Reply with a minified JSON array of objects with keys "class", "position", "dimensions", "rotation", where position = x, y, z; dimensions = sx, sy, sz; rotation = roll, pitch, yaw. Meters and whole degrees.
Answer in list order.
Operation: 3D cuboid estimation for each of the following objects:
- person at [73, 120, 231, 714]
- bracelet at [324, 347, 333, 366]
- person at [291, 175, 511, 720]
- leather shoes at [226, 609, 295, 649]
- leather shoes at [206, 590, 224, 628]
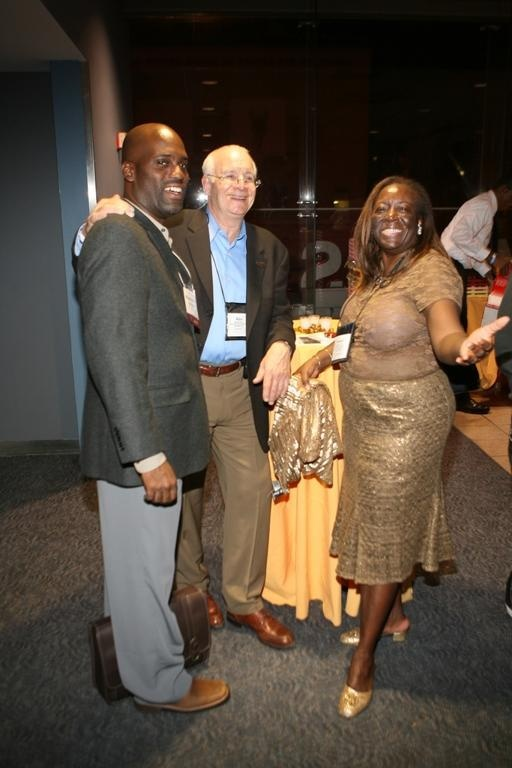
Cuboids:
[{"class":"person","position":[-0.297,0.177,1.464],"dimensions":[0.343,1.704,0.468],"rotation":[1,10,9]},{"class":"bracelet","position":[0.249,-0.097,1.988],"dimensions":[0.028,0.040,0.055],"rotation":[-6,37,0]},{"class":"person","position":[0.416,0.178,1.685],"dimensions":[0.383,1.617,0.764],"rotation":[1,10,8]},{"class":"leather shoes","position":[0.030,0.897,2.141],"dimensions":[0.270,0.113,0.102],"rotation":[13,18,31]},{"class":"leather shoes","position":[-0.160,0.878,2.226],"dimensions":[0.071,0.087,0.208],"rotation":[0,4,-12]}]
